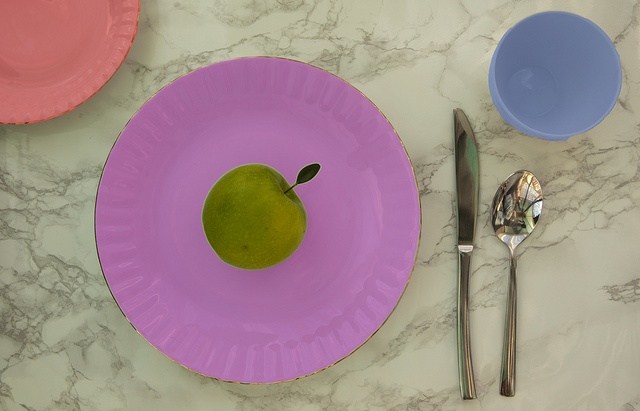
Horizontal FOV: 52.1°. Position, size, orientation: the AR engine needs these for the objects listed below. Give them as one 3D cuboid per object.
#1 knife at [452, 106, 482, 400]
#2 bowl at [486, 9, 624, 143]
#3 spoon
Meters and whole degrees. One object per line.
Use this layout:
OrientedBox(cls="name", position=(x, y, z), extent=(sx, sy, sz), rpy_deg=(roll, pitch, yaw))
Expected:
OrientedBox(cls="knife", position=(0.295, 0.095, 1.330), extent=(0.043, 0.583, 0.053), rpy_deg=(1, 1, 1))
OrientedBox(cls="bowl", position=(0.489, -0.260, 1.395), extent=(0.234, 0.275, 0.187), rpy_deg=(3, 8, 9))
OrientedBox(cls="spoon", position=(0.402, 0.133, 1.322), extent=(0.086, 0.484, 0.054), rpy_deg=(1, 5, -1))
